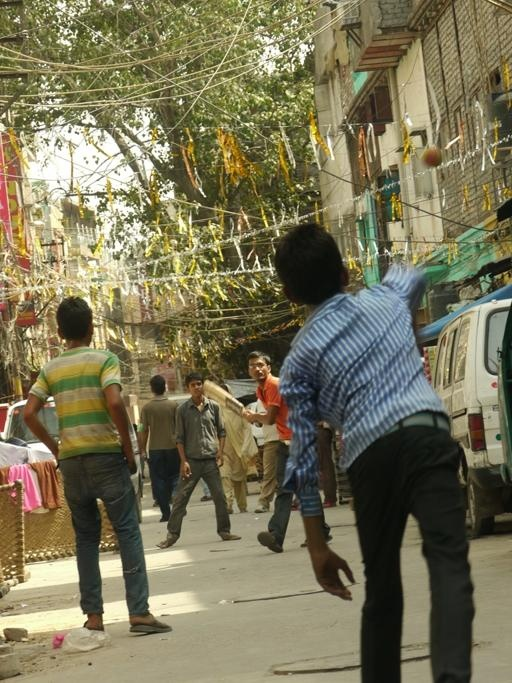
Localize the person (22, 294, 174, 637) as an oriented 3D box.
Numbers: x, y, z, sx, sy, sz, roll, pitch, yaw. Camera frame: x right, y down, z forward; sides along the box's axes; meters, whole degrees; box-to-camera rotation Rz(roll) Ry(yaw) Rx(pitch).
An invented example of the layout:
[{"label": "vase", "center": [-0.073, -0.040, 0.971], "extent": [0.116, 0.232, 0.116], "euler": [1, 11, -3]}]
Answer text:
[{"label": "person", "center": [-1.057, 0.797, 4.518], "extent": [0.747, 1.956, 0.475], "euler": [-10, -2, 31]}]

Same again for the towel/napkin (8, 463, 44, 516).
[{"label": "towel/napkin", "center": [-2.928, 1.847, 8.923], "extent": [0.307, 0.619, 0.676], "euler": [-19, -25, 8]}]

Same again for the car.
[{"label": "car", "center": [-0.347, 1.553, 12.459], "extent": [1.573, 1.142, 2.558], "euler": [-1, -1, 26]}]
